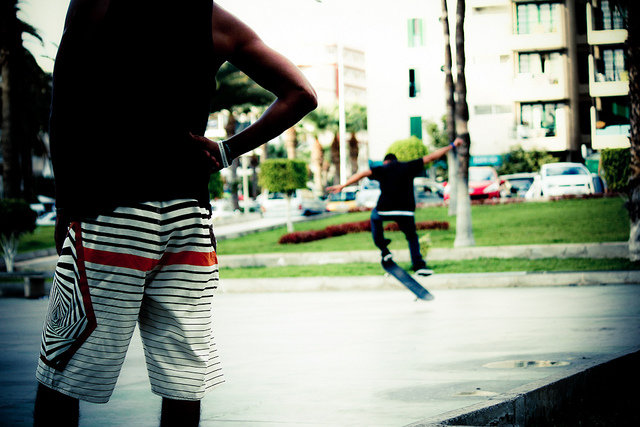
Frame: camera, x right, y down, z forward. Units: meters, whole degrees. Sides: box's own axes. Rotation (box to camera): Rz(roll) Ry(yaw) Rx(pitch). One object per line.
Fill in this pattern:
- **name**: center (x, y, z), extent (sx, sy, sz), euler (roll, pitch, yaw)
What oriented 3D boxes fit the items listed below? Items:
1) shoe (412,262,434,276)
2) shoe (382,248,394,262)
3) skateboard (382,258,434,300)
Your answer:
- **shoe**: center (1.521, 0.861, 16.332), extent (0.207, 0.193, 0.433), euler (-3, 2, -42)
- **shoe**: center (1.017, 0.665, 16.582), extent (0.082, 0.175, 0.247), euler (-45, -5, -8)
- **skateboard**: center (1.384, 1.076, 17.001), extent (0.189, 0.802, 0.119), euler (-41, -17, -17)
